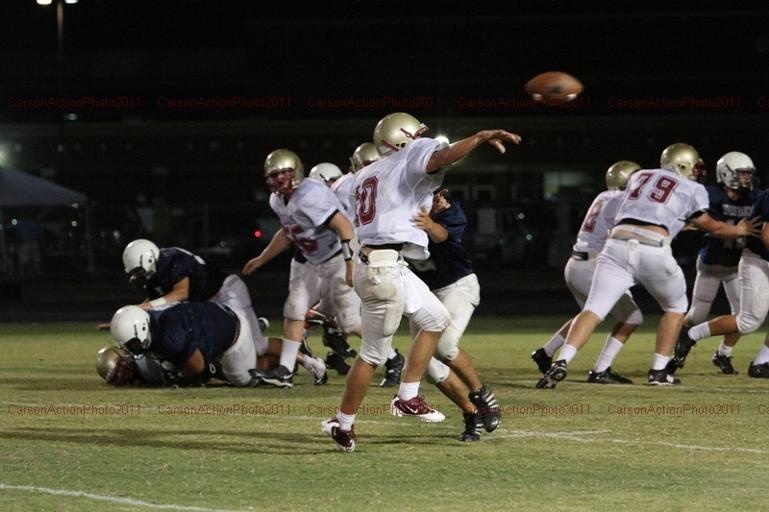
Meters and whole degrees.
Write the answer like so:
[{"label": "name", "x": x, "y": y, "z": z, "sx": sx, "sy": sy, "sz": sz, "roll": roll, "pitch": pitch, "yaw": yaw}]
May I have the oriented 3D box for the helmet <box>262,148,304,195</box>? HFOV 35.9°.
[{"label": "helmet", "x": -1.330, "y": -1.103, "z": 15.439, "sx": 0.507, "sy": 0.594, "sz": 0.402, "roll": 1, "pitch": -1, "yaw": -2}]
